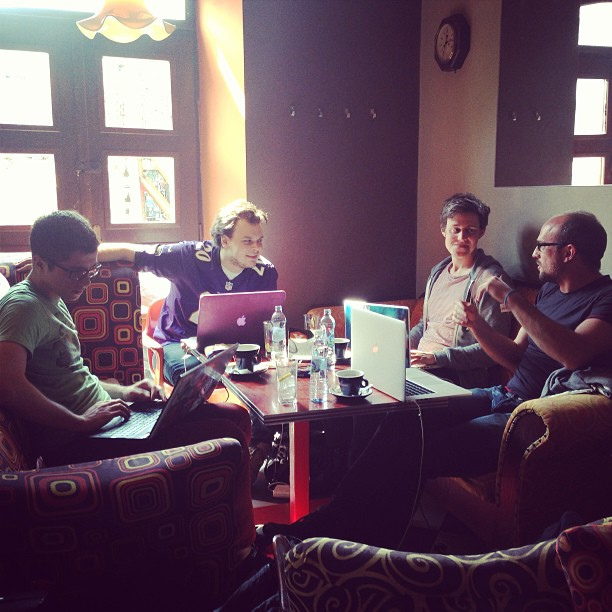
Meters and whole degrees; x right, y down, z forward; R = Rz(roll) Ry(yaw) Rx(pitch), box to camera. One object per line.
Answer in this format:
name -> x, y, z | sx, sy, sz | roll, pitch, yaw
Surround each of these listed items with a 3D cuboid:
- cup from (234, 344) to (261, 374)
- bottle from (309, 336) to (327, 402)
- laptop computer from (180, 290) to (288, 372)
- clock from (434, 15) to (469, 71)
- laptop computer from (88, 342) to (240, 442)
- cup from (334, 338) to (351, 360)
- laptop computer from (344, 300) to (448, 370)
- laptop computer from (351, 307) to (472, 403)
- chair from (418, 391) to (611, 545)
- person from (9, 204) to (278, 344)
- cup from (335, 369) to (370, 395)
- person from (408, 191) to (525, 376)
cup -> -0.213, 0.189, 2.053 | 0.080, 0.079, 0.086 | -1, 9, 0
bottle -> 0.043, 0.189, 1.772 | 0.064, 0.267, 0.071 | -1, 17, 4
laptop computer -> -0.306, 0.025, 2.323 | 0.331, 0.271, 0.249 | -2, 12, -22
clock -> 0.824, -1.479, 3.240 | 0.082, 0.281, 0.291 | -3, 7, -12
laptop computer -> -0.448, 0.262, 1.739 | 0.401, 0.249, 0.533 | -1, 7, 8
cup -> 0.131, 0.159, 2.160 | 0.057, 0.054, 0.063 | 0, -2, -1
laptop computer -> 0.331, 0.028, 2.057 | 0.255, 0.307, 0.384 | -1, 3, -29
laptop computer -> 0.336, 0.140, 1.911 | 0.254, 0.257, 0.428 | -4, 8, -19
chair -> 0.677, 0.517, 1.843 | 0.265, 0.403, 0.524 | 3, -3, -16
person -> -0.633, -0.076, 2.796 | 0.836, 0.402, 0.636 | -3, 5, 22
cup -> 0.145, 0.235, 1.788 | 0.078, 0.058, 0.065 | 0, 5, 18
person -> 0.674, -0.093, 2.736 | 0.523, 0.872, 0.624 | 7, 2, 29
